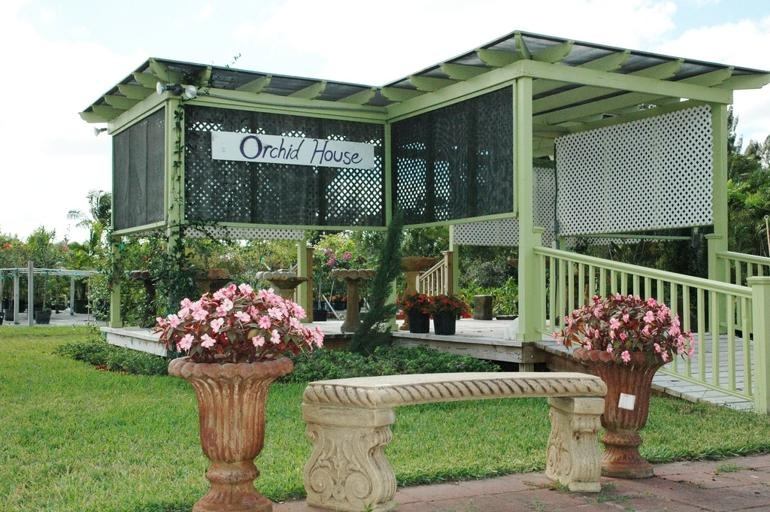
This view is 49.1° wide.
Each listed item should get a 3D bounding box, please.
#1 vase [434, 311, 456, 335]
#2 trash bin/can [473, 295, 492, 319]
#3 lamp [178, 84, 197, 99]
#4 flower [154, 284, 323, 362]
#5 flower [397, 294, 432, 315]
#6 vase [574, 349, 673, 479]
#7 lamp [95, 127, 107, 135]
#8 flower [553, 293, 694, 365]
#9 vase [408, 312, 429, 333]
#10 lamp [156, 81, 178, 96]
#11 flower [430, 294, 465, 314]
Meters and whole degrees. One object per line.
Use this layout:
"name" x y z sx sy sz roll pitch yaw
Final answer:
"vase" 0.885 1.010 12.564 0.306 0.261 0.330 4 -13 -12
"trash bin/can" 1.890 1.013 16.791 0.216 0.479 0.453 3 -3 -45
"lamp" -2.891 -2.421 12.378 0.262 0.200 0.178 -1 -3 43
"flower" -1.304 0.638 7.626 0.962 0.679 1.230 12 15 24
"flower" 0.468 0.719 12.777 0.321 0.241 0.339 0 0 9
"vase" 2.309 1.563 8.597 1.083 1.157 1.034 4 -6 -33
"lamp" -4.990 -2.177 14.746 0.177 0.108 0.116 -2 2 -43
"flower" 2.374 0.697 8.257 0.854 0.534 0.814 -1 6 -22
"vase" 0.500 1.025 12.895 0.305 0.245 0.272 2 -3 -29
"lamp" -3.160 -2.460 12.323 0.342 0.202 0.256 0 -2 17
"flower" 0.925 0.718 12.583 0.316 0.209 0.321 2 0 -4
